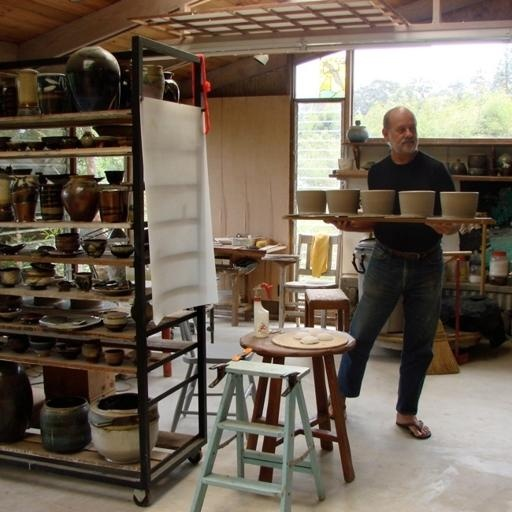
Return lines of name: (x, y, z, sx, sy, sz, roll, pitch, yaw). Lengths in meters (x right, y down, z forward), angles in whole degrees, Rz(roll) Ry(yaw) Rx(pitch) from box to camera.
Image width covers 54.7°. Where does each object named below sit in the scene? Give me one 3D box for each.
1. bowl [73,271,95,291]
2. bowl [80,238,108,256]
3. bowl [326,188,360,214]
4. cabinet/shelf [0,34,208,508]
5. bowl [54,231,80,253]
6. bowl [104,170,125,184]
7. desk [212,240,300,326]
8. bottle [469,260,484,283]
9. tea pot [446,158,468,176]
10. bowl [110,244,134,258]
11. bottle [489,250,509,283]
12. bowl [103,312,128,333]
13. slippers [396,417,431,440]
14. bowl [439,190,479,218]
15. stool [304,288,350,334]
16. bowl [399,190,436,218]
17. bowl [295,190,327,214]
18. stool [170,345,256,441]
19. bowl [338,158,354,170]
bowl: (-0.877, 0.130, 2.563, 0.112, 0.092, 0.097, -1, 7, -8)
bowl: (-0.823, -0.041, 2.538, 0.123, 0.069, 0.094, 3, 5, 28)
bowl: (0.423, -0.263, 2.408, 0.163, 0.115, 0.138, 1, 4, 9)
cabinet/shelf: (-0.642, 0.043, 2.609, 0.798, 2.285, 0.706, 3, 5, 29)
bowl: (-1.001, -0.080, 2.632, 0.128, 0.074, 0.115, 1, 6, 19)
bowl: (-0.748, -0.418, 2.686, 0.142, 0.077, 0.124, -2, 8, -9)
desk: (0.074, 0.313, 6.518, 1.138, 0.701, 0.784, 1, 6, 2)
bottle: (2.543, 0.215, 5.721, 0.113, 0.195, 0.213, 1, 4, 17)
tea pot: (2.422, -1.047, 5.826, 0.306, 0.215, 0.213, 4, 10, 25)
bowl: (-0.669, -0.028, 2.472, 0.096, 0.043, 0.084, -3, 5, -13)
bottle: (2.791, 0.128, 5.666, 0.205, 0.358, 0.278, 2, 5, 23)
bowl: (-0.685, 0.326, 2.461, 0.114, 0.062, 0.109, -1, 3, 0)
slippers: (1.028, 1.115, 3.203, 0.166, 0.054, 0.092, 2, 11, 45)
bowl: (0.943, -0.239, 2.297, 0.162, 0.092, 0.147, 1, 5, 21)
stool: (0.621, 0.472, 4.472, 0.489, 0.395, 0.426, -1, 3, -4)
bowl: (0.746, -0.238, 2.294, 0.153, 0.121, 0.136, 1, 4, 14)
bowl: (0.279, -0.268, 2.469, 0.155, 0.114, 0.134, 0, 4, 4)
stool: (-0.300, 0.888, 3.287, 0.498, 0.497, 0.406, 5, 8, 14)
bowl: (1.095, -1.113, 5.995, 0.183, 0.108, 0.152, -1, 5, 13)
